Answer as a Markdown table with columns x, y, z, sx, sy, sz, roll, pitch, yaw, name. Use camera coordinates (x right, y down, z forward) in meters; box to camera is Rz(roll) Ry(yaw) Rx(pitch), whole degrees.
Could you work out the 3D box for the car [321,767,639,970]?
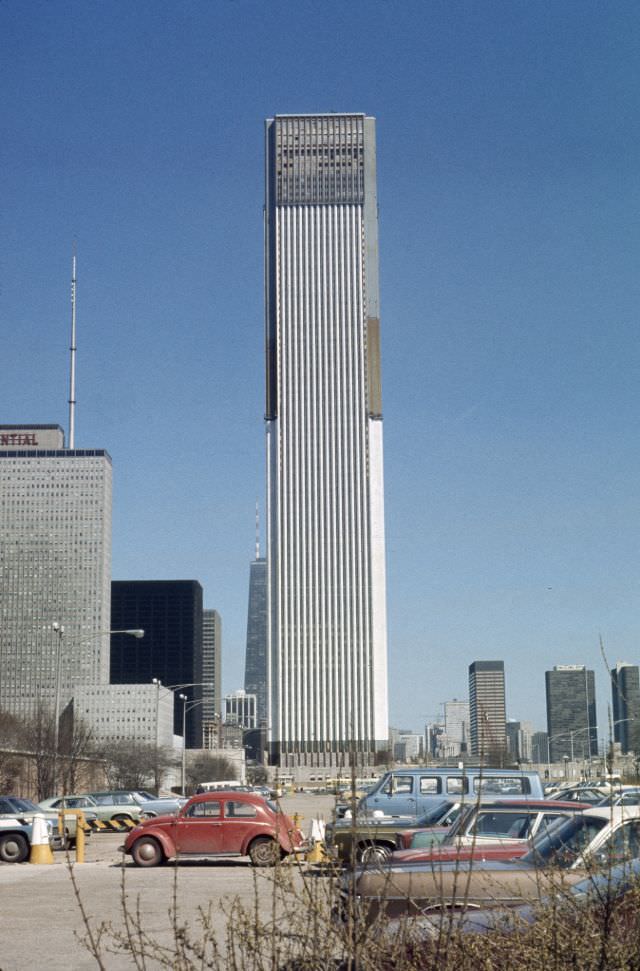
| x | y | z | sx | sy | sz | roll | pitch | yaw | name |
| --- | --- | --- | --- | --- | --- | --- | --- | --- | --- |
| 1.272 | 2.914 | 12.648 | 2.371 | 1.190 | 1.577 | 1 | -19 | -1 | car |
